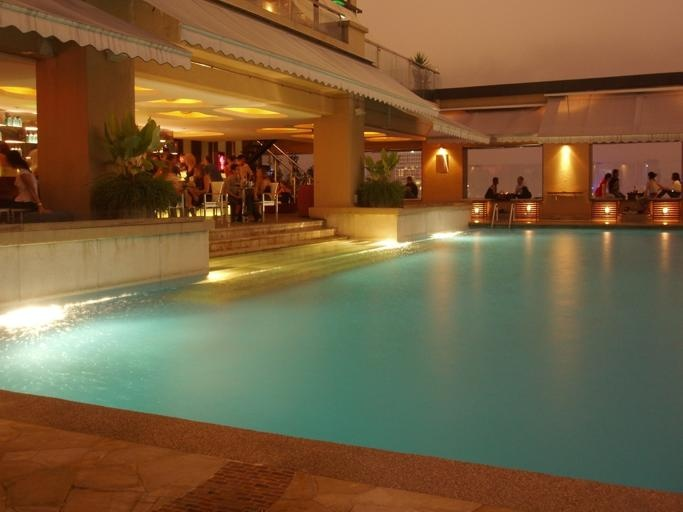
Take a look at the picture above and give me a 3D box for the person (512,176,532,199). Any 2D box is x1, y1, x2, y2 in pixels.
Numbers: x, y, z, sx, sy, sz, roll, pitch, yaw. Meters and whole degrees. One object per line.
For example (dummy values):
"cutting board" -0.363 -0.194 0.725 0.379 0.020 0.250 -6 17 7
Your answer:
"person" 9.062 -3.412 24.823 0.854 1.024 0.956 2 7 18

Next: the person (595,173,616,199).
"person" 12.439 -3.217 23.358 0.676 1.307 1.148 -1 10 5

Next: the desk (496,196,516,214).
"desk" 8.139 -2.526 24.647 0.755 0.895 0.520 2 6 17

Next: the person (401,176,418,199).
"person" 3.686 -3.591 26.306 0.451 1.193 1.600 3 7 25
